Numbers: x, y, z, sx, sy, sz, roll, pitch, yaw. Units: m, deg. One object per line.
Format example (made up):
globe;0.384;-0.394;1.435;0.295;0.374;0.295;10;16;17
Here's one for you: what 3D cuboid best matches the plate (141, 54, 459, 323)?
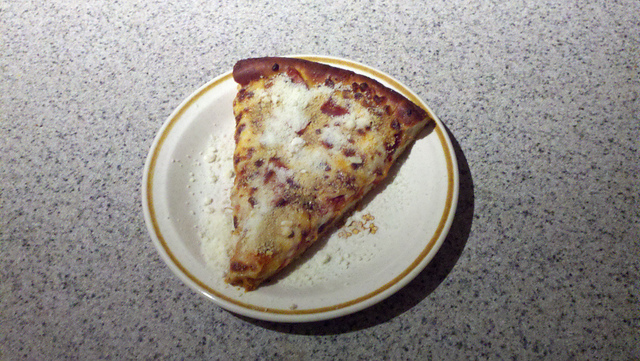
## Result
plate;-0.077;0.063;1.748;0.937;0.138;0.701;12;83;0
